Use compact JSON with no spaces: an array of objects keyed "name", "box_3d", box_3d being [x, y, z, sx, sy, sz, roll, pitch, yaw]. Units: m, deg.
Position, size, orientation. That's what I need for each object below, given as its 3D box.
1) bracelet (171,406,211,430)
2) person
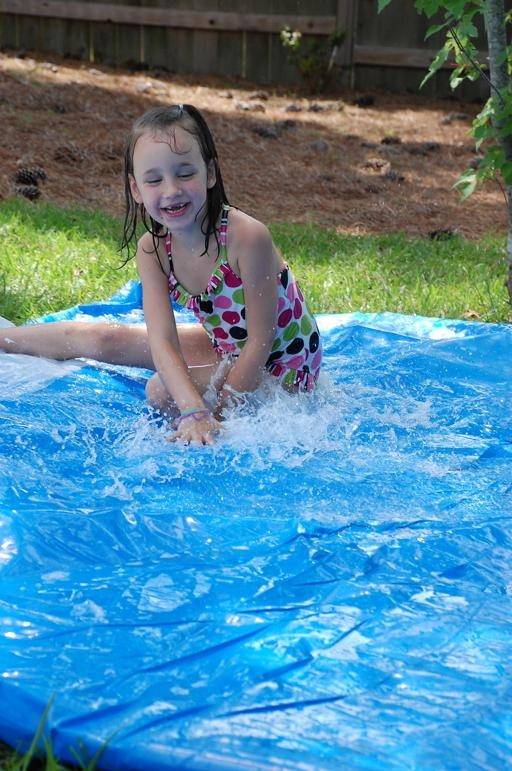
[{"name":"bracelet","box_3d":[-0.151,0.076,1.858,0.079,0.039,0.049,2,15,-11]},{"name":"person","box_3d":[-0.121,-0.319,2.029,0.467,0.798,0.610,14,18,30]}]
